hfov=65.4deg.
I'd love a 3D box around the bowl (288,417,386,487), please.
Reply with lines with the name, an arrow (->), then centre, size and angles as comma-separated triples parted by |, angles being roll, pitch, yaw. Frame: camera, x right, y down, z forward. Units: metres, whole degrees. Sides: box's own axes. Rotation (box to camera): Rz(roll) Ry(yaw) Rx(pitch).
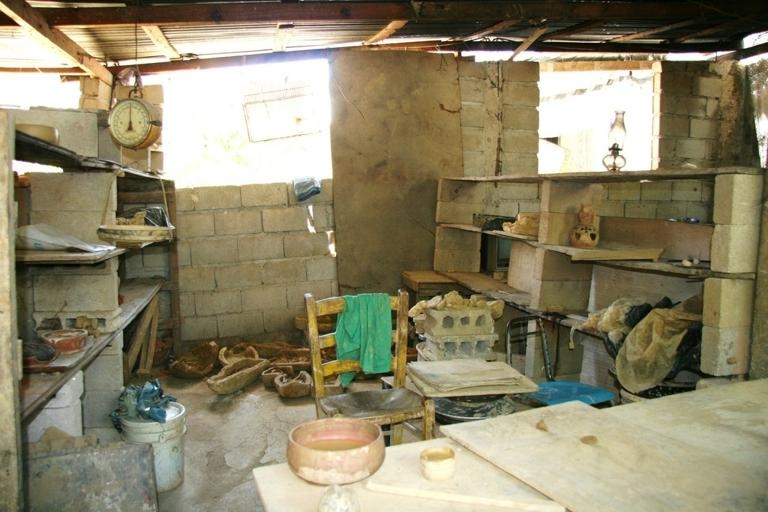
bowl -> -0.227, 0.884, 2.754 | 0.459, 0.138, 0.422 | 1, 8, 0

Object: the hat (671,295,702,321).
hat -> 2.447, 0.426, 4.832 | 0.256, 0.053, 0.236 | -10, 17, -13

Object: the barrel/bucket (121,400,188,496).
barrel/bucket -> -1.686, 1.526, 4.932 | 0.720, 0.606, 0.677 | 2, 4, 0

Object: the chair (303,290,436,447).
chair -> -0.109, 0.780, 4.280 | 0.805, 1.071, 0.631 | -5, 4, -7

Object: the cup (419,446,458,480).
cup -> 0.252, 0.948, 2.681 | 0.165, 0.062, 0.153 | -5, -8, -1

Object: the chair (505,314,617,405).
chair -> 1.220, 0.773, 4.555 | 0.702, 0.495, 0.797 | 0, 3, -7
